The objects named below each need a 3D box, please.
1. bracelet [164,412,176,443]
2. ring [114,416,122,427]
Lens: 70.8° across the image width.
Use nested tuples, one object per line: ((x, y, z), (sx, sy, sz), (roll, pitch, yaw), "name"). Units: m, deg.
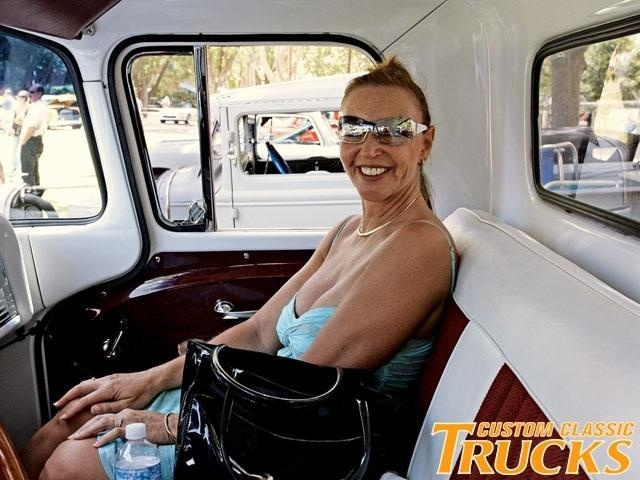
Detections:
((-0.546, 0.687, 1.626), (0.017, 0.077, 0.070), (-8, 23, -6), "bracelet")
((-0.722, 0.648, 1.605), (0.022, 0.019, 0.031), (3, 54, -11), "ring")
